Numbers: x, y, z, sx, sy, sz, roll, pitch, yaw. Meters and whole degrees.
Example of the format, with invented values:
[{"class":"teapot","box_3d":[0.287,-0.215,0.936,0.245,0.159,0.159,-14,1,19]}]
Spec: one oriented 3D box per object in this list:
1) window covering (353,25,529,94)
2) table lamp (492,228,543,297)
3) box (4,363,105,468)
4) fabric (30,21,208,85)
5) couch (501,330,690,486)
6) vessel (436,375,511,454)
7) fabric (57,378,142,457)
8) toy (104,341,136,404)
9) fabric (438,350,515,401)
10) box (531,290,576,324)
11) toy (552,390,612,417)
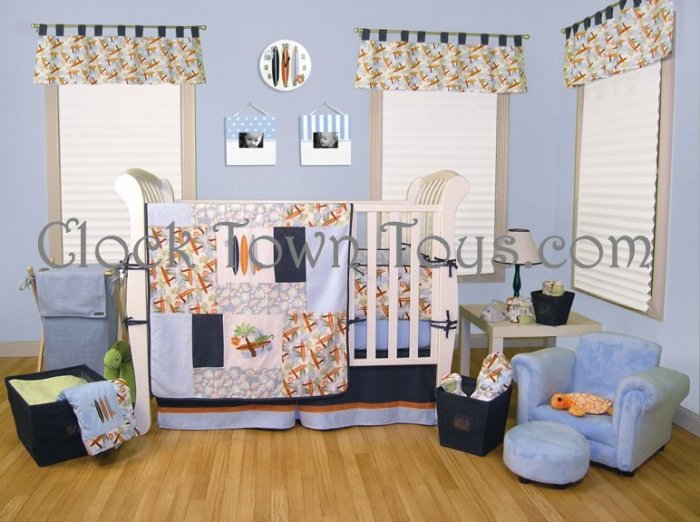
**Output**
[{"class":"window covering","box_3d":[0.749,-1.633,5.079,1.424,0.481,0.151,-2,10,-7]},{"class":"table lamp","box_3d":[1.201,0.028,4.495,0.276,0.518,0.440,-2,10,-12]},{"class":"box","box_3d":[-1.765,0.872,3.704,0.452,0.405,0.550,-1,5,-36]},{"class":"fabric","box_3d":[-1.786,-1.624,4.894,1.270,0.537,0.121,-3,-6,-11]},{"class":"couch","box_3d":[1.374,0.819,3.606,1.081,0.688,0.622,-2,10,-8]},{"class":"vessel","box_3d":[0.732,0.927,3.751,0.380,0.344,0.318,4,7,43]},{"class":"fabric","box_3d":[-1.436,0.869,3.582,0.143,0.499,0.475,-34,-38,26]},{"class":"toy","box_3d":[-1.449,0.664,3.995,0.204,0.373,0.269,4,17,4]},{"class":"fabric","box_3d":[0.716,0.641,3.652,0.370,0.396,0.227,5,6,41]},{"class":"box","box_3d":[1.348,0.309,4.191,0.264,0.214,0.171,3,11,17]},{"class":"toy","box_3d":[1.336,0.815,3.582,0.186,0.065,0.172,0,3,16]}]
